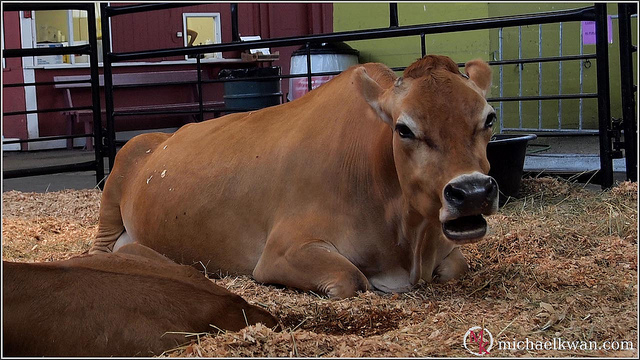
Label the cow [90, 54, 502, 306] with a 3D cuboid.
[{"bbox_3d":[-0.403,0.059,6.178,3.865,1.597,1.862,-2,2,33],"label":"cow"}]
